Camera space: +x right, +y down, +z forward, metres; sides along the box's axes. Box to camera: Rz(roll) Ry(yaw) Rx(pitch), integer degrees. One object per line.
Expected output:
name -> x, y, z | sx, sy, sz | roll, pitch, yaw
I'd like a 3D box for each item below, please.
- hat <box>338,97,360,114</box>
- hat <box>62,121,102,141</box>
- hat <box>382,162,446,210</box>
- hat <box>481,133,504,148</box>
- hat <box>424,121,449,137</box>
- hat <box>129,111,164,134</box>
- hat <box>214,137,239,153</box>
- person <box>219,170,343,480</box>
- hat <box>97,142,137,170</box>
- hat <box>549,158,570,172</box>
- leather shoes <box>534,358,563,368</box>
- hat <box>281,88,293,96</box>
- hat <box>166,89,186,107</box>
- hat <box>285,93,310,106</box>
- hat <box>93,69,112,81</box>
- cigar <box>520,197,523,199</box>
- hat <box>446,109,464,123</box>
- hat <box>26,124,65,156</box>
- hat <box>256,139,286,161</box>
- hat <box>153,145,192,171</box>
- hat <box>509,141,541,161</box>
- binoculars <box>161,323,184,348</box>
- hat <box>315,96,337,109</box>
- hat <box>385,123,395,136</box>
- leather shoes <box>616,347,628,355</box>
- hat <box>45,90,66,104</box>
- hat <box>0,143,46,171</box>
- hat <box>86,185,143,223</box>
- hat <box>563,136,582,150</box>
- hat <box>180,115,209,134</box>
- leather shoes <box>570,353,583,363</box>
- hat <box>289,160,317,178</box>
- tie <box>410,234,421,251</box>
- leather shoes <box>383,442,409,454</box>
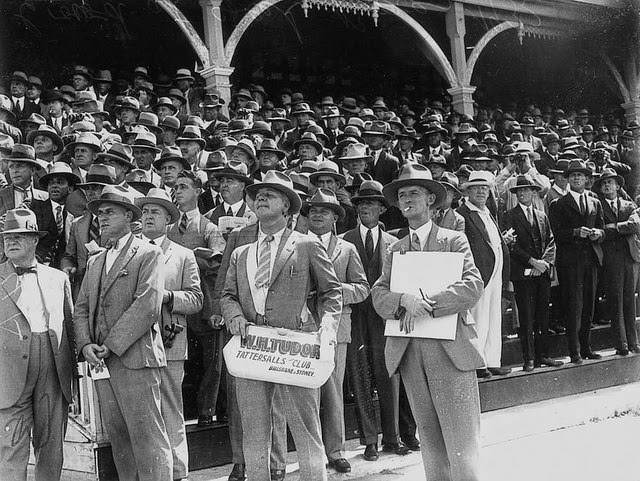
hat -> 0.586, -2.824, 17.574 | 0.377, 0.160, 0.409 | 5, 20, -28
hat -> -3.280, -1.574, 11.931 | 0.367, 0.125, 0.402 | -4, 2, 10
hat -> 1.050, -0.585, 9.311 | 0.505, 0.233, 0.594 | -5, -42, 12
hat -> 3.230, -1.870, 15.812 | 0.308, 0.141, 0.355 | 0, -6, 41
hat -> 2.191, -2.129, 16.147 | 0.348, 0.161, 0.406 | 0, -28, 20
hat -> -2.595, -1.819, 13.016 | 0.341, 0.156, 0.398 | 15, 0, 12
hat -> -1.297, -1.344, 11.853 | 0.243, 0.094, 0.270 | -14, -7, 41
person -> -0.400, 0.870, 8.239 | 1.159, 3.032, 0.997 | 4, 7, 9
hat -> -2.559, -1.074, 10.883 | 0.286, 0.143, 0.362 | 14, -13, 5
hat -> 3.959, -1.245, 14.015 | 0.357, 0.158, 0.404 | -1, 3, 17
leather shoes -> 3.241, 1.750, 12.138 | 0.427, 0.194, 0.151 | -6, 2, 11
hat -> -0.734, -3.322, 18.808 | 0.264, 0.106, 0.301 | 8, -26, 4
hat -> -2.450, -2.472, 14.765 | 0.312, 0.142, 0.366 | 15, -20, 24
hat -> -0.495, -2.976, 17.470 | 0.558, 0.237, 0.653 | -9, 2, 0
hat -> -4.003, -3.067, 15.805 | 0.313, 0.149, 0.367 | 3, -2, 8
cigar -> 2.902, -0.619, 12.217 | 0.033, 0.034, 0.008 | 0, -6, 13
hat -> 3.033, -2.790, 19.174 | 0.320, 0.392, 0.145 | -1, 1, 0
hat -> -3.819, -1.445, 11.986 | 0.403, 0.181, 0.464 | 2, -39, -4
hat -> -0.723, -1.305, 12.255 | 0.431, 0.191, 0.502 | 4, -7, 1
hat -> -1.905, -1.063, 11.014 | 0.324, 0.150, 0.379 | -2, -12, 4
hat -> 3.527, -1.554, 14.711 | 0.502, 0.228, 0.579 | -1, -15, 27
binoculars -> -1.540, 0.976, 8.823 | 0.232, 0.226, 0.095 | -5, 36, -35
hat -> 0.144, -2.816, 16.881 | 0.505, 0.217, 0.590 | -1, -6, 4
hat -> 1.229, -1.894, 14.677 | 0.217, 0.266, 0.092 | 10, 31, 38
leather shoes -> 4.577, 1.682, 12.844 | 0.150, 0.063, 0.103 | -8, 0, 40
hat -> -4.342, -2.349, 13.916 | 0.242, 0.117, 0.290 | 0, -11, -8
hat -> -3.722, -1.084, 10.809 | 0.335, 0.156, 0.393 | -9, -14, 2
hat -> -2.001, -0.377, 8.667 | 0.403, 0.186, 0.475 | -9, -22, 14
hat -> 4.711, -1.831, 15.915 | 0.313, 0.151, 0.371 | 2, 11, 42
hat -> -1.879, -1.818, 13.061 | 0.350, 0.148, 0.407 | 12, -13, 8
leather shoes -> 3.710, 1.707, 12.262 | 0.158, 0.121, 0.153 | 5, 8, 13
hat -> -0.149, -1.019, 11.843 | 0.312, 0.098, 0.326 | -2, -7, 24
tie -> 0.938, 0.020, 8.330 | 0.087, 0.161, 0.038 | 0, -2, 15
leather shoes -> 0.898, 2.454, 10.041 | 0.338, 0.155, 0.118 | -3, 0, 11
